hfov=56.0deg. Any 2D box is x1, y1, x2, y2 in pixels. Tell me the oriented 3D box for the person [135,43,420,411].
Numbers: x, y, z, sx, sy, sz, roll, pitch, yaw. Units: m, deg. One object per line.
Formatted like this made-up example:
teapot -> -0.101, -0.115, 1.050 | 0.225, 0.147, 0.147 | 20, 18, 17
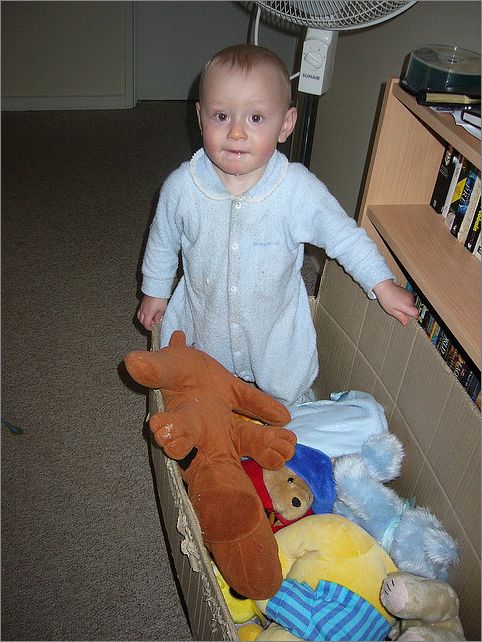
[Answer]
person -> 0.064, -0.079, 0.967 | 0.503, 0.873, 0.216 | 9, 41, 8
